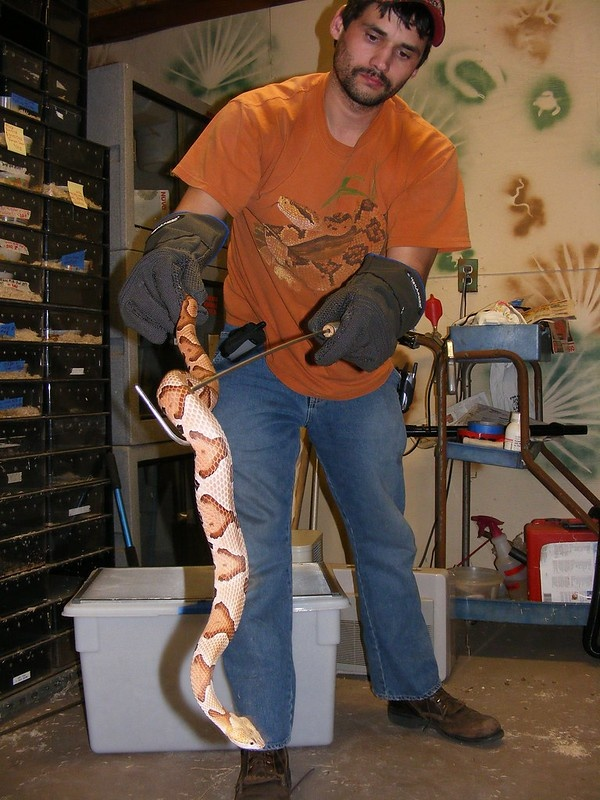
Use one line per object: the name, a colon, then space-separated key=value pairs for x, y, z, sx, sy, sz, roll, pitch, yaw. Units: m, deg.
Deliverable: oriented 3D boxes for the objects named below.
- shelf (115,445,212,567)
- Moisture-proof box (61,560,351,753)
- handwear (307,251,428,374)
shelf: x=-0.729 y=0.552 z=3.682 sx=0.382 sy=0.653 sz=0.454 roll=4 pitch=9 yaw=15
Moisture-proof box: x=-0.291 y=0.780 z=2.198 sx=0.759 sy=0.428 sz=0.509 roll=0 pitch=-3 yaw=-4
handwear: x=0.111 y=-0.194 z=1.588 sx=0.235 sy=0.289 sz=0.243 roll=10 pitch=11 yaw=33
